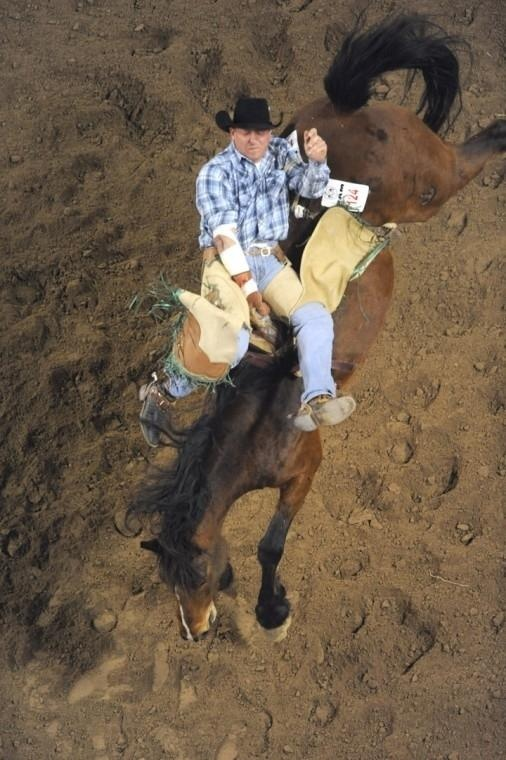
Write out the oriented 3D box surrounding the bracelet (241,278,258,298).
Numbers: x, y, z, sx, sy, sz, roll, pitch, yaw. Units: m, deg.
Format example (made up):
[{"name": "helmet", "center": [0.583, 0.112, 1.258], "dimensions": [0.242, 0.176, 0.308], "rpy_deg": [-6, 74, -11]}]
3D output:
[{"name": "bracelet", "center": [-0.024, -0.525, 4.667], "dimensions": [0.086, 0.044, 0.110], "rpy_deg": [-26, 84, -6]}]
